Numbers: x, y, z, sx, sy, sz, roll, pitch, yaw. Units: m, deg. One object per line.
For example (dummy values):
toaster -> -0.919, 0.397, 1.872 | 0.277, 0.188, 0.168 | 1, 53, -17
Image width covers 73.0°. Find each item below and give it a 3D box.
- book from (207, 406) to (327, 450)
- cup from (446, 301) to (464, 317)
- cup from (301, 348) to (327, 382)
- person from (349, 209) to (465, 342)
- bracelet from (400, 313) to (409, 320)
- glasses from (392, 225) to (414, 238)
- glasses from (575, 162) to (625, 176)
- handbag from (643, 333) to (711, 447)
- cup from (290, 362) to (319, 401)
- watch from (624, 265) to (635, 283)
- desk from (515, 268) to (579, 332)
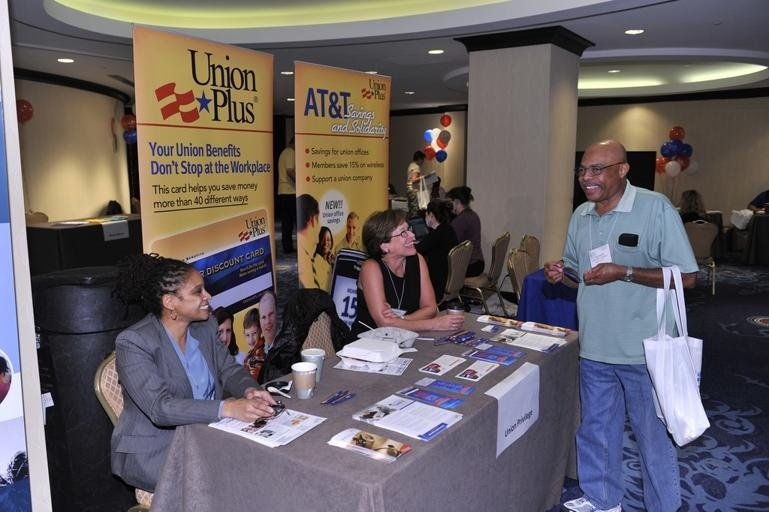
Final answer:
book -> -0.471, 0.681, 2.106 | 0.410, 0.053, 0.238 | 1, 8, 27
cup -> 0.411, 0.305, 3.045 | 0.079, 0.071, 0.081 | -1, 6, 0
cup -> -0.310, 0.507, 2.427 | 0.134, 0.155, 0.137 | 1, 6, 0
person -> 0.088, 0.046, 3.422 | 0.784, 0.886, 0.630 | 8, 15, 36
bracelet -> 0.120, 0.373, 3.179 | 0.031, 0.027, 0.050 | 4, -18, -15
glasses -> 0.110, -0.147, 3.146 | 0.091, 0.030, 0.092 | 2, 10, 28
glasses -> 1.136, -0.459, 2.736 | 0.241, 0.068, 0.110 | 0, 7, 21
handbag -> 1.413, 0.647, 2.552 | 0.269, 0.523, 0.153 | -1, 7, 17
cup -> -0.344, 0.542, 2.320 | 0.132, 0.146, 0.139 | 1, 13, 0
watch -> 1.236, 0.095, 2.635 | 0.046, 0.075, 0.069 | 2, 15, 10
desk -> 1.377, 0.359, 4.484 | 0.505, 0.390, 0.514 | 4, 7, 37
